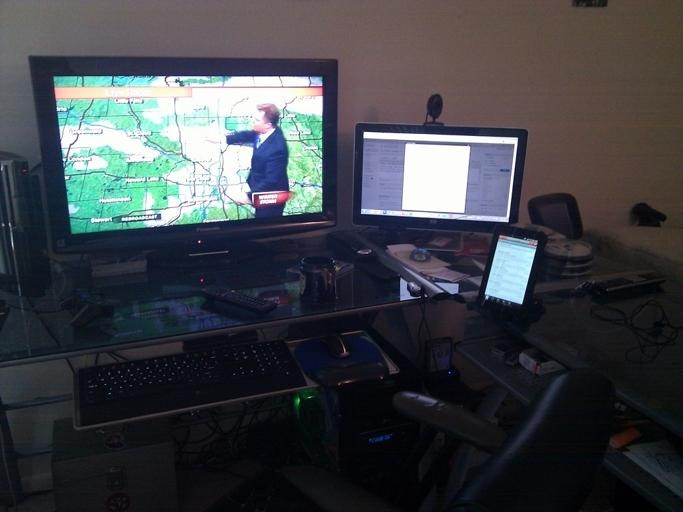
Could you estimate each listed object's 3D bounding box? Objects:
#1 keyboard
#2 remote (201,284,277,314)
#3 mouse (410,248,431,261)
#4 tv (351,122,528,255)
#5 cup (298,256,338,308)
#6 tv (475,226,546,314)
[{"bbox_3d":[-0.424,0.355,1.627,0.627,0.084,0.211,-5,18,-16],"label":"keyboard"},{"bbox_3d":[-0.304,0.126,1.697,0.234,0.035,0.087,8,19,23],"label":"remote"},{"bbox_3d":[0.269,-0.003,1.960,0.051,0.028,0.048,2,10,9],"label":"mouse"},{"bbox_3d":[0.348,-0.248,2.056,0.523,0.334,0.132,3,23,3],"label":"tv"},{"bbox_3d":[-0.066,0.077,1.751,0.137,0.134,0.130,0,13,0],"label":"cup"},{"bbox_3d":[0.529,0.036,1.814,0.168,0.263,0.026,14,0,-5],"label":"tv"}]
